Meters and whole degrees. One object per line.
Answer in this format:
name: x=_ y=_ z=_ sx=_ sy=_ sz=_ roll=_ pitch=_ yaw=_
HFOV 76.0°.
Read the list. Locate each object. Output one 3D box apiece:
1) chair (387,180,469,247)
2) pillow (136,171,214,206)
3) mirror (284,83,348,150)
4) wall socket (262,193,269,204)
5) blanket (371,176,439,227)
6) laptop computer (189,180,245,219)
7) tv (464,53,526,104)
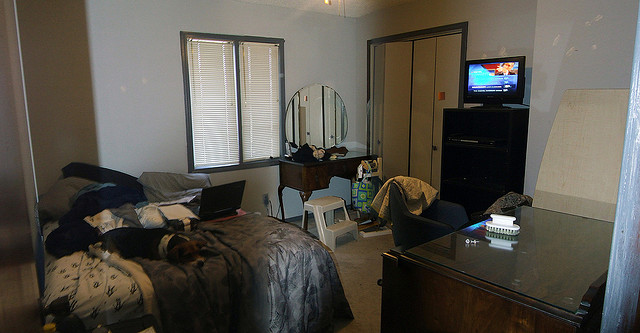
chair: x=1.115 y=0.574 z=4.146 sx=0.791 sy=0.775 sz=0.680 roll=6 pitch=18 yaw=26
pillow: x=-1.808 y=0.239 z=5.056 sx=0.550 sy=0.172 sz=0.602 roll=19 pitch=21 yaw=41
mirror: x=-0.110 y=-0.769 z=6.210 sx=1.204 sy=1.133 sz=0.063 roll=-5 pitch=16 yaw=-30
wall socket: x=-0.809 y=0.456 z=5.972 sx=0.088 sy=0.135 sz=0.048 roll=-5 pitch=16 yaw=-16
blanket: x=0.844 y=0.409 z=4.489 sx=0.757 sy=0.598 sz=0.491 roll=12 pitch=19 yaw=41
laptop computer: x=-1.141 y=0.319 z=4.527 sx=0.545 sy=0.340 sz=0.438 roll=-10 pitch=22 yaw=-39
tv: x=2.036 y=-0.998 z=4.714 sx=0.695 sy=0.476 sz=0.231 roll=6 pitch=11 yaw=40
